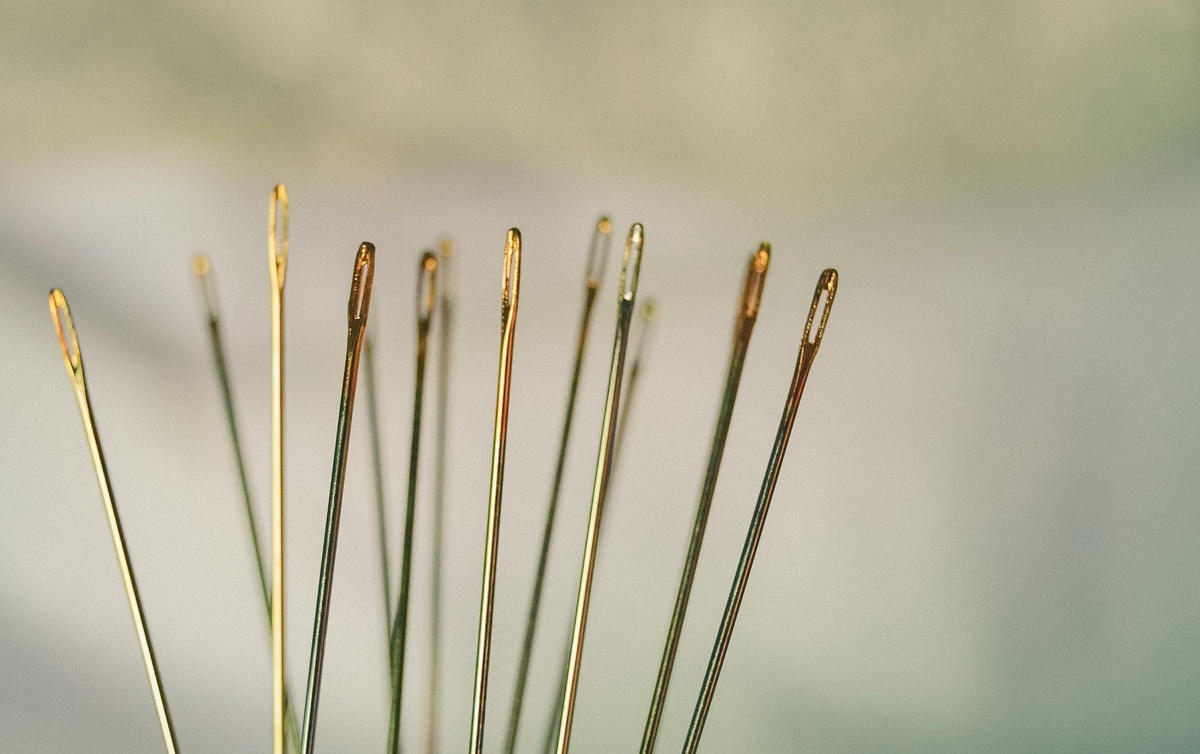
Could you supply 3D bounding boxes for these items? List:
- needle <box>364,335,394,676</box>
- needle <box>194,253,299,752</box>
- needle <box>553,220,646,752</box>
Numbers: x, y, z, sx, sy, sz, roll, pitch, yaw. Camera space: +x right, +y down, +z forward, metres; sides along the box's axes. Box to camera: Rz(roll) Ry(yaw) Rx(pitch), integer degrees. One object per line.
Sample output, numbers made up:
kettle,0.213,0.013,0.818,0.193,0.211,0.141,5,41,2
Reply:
needle,-0.250,0.156,1.385,0.034,0.409,0.021,-1,2,3
needle,-0.395,0.154,1.363,0.026,0.584,0.029,-10,1,7
needle,-0.002,0.138,1.377,0.018,0.624,0.029,12,1,-16
